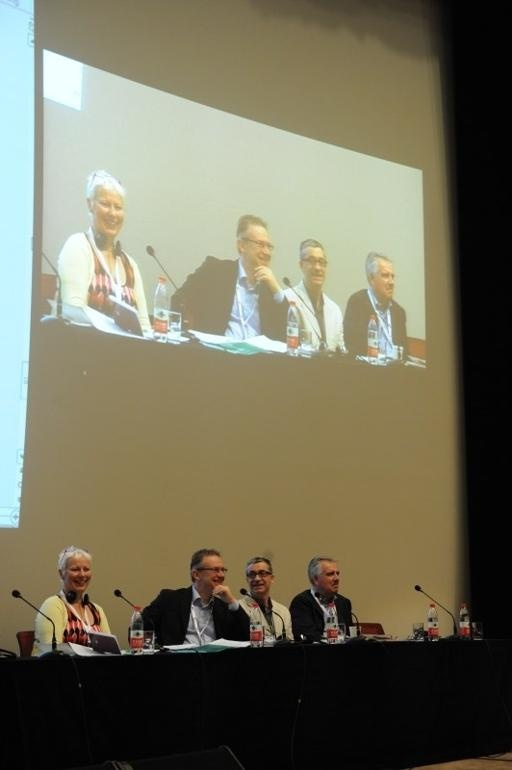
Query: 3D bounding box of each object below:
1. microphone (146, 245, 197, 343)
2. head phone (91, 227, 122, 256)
[{"bbox_3d":[-0.431,-0.461,4.177,0.038,0.446,0.304,-4,-6,41],"label":"microphone"},{"bbox_3d":[-0.711,-0.670,3.944,0.088,0.067,0.119,28,13,-41],"label":"head phone"}]
